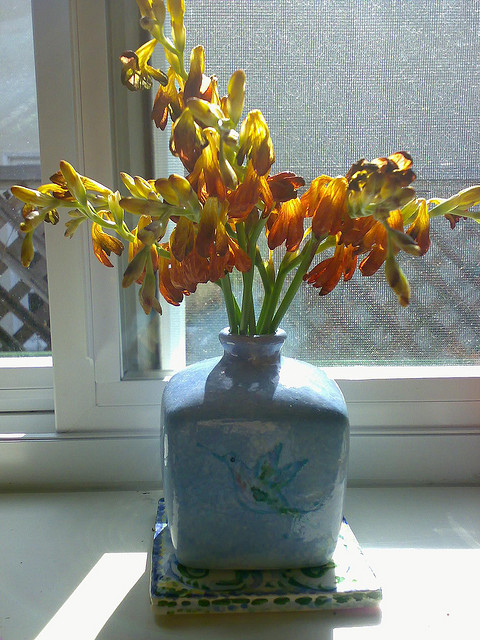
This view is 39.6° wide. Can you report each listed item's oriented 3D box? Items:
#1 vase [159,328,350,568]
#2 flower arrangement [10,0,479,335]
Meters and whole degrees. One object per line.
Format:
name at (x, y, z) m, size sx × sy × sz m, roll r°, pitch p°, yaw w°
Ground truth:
vase at (0.023, 0.121, 0.773) m, size 0.207 × 0.263 × 0.221 m, roll 0°, pitch 10°, yaw 0°
flower arrangement at (0.017, -0.105, 0.708) m, size 0.427 × 0.393 × 0.322 m, roll -4°, pitch 38°, yaw -4°
